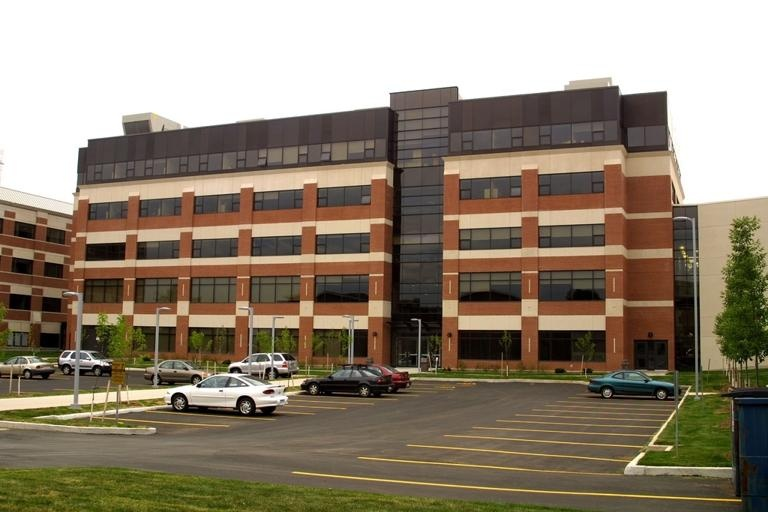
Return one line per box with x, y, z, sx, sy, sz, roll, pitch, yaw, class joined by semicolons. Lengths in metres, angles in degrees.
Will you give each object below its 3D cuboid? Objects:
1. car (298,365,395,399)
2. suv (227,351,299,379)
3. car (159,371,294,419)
-2.151;8.036;48.508;5.432;1.768;2.399;-2;-7;24;car
-9.435;8.418;58.640;4.916;1.748;2.190;1;-4;16;suv
-8.113;7.448;40.293;6.283;2.079;2.748;-2;-5;20;car
